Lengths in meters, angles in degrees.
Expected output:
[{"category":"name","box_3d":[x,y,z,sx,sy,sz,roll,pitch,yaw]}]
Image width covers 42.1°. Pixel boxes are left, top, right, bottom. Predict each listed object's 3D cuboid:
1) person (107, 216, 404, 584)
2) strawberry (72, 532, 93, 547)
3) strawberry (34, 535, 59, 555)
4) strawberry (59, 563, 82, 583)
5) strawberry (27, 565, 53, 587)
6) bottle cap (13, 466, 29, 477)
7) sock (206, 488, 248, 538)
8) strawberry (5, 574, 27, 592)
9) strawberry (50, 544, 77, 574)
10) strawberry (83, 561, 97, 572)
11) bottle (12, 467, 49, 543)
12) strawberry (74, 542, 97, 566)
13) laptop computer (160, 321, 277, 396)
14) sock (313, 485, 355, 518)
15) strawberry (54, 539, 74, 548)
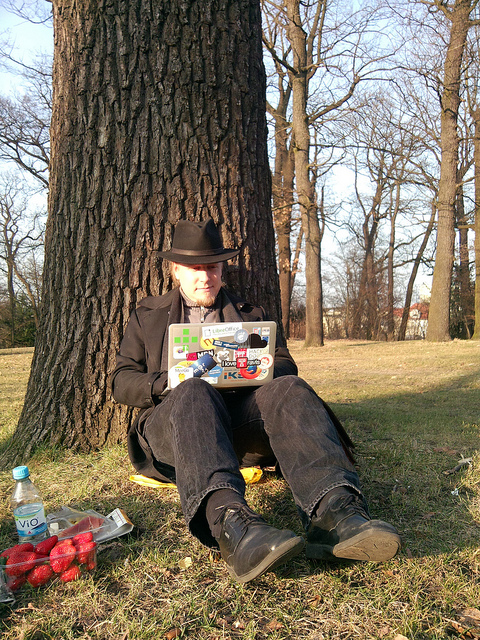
[{"category":"person","box_3d":[-0.074,0.211,3.008,1.046,1.381,1.765,-3,1,-14]},{"category":"strawberry","box_3d":[-0.650,0.904,2.572,0.056,0.031,0.043,-11,-19,12]},{"category":"strawberry","box_3d":[-0.790,0.923,2.536,0.044,0.037,0.086,29,38,15]},{"category":"strawberry","box_3d":[-0.671,1.008,2.466,0.076,0.043,0.058,-25,22,6]},{"category":"strawberry","box_3d":[-0.784,1.002,2.446,0.089,0.068,0.057,-22,-2,4]},{"category":"bottle cap","box_3d":[-0.936,0.642,2.666,0.048,0.028,0.048,6,4,-31]},{"category":"sock","box_3d":[-0.055,0.769,2.491,0.163,0.164,0.098,-3,1,-3]},{"category":"strawberry","box_3d":[-0.870,1.023,2.420,0.030,0.030,0.071,-19,11,45]},{"category":"strawberry","box_3d":[-0.705,0.955,2.475,0.104,0.079,0.064,-21,2,34]},{"category":"strawberry","box_3d":[-0.606,0.999,2.519,0.045,0.023,0.026,-27,8,-32]},{"category":"bottle","box_3d":[-0.924,0.839,2.731,0.148,0.385,0.136,-9,3,1]},{"category":"strawberry","box_3d":[-0.625,0.941,2.514,0.086,0.067,0.052,-40,23,-6]},{"category":"laptop computer","box_3d":[-0.161,0.143,3.260,0.652,0.306,0.507,-1,10,-20]},{"category":"sock","box_3d":[0.373,0.726,2.583,0.216,0.073,0.085,-43,-22,-8]},{"category":"strawberry","box_3d":[-0.722,0.907,2.543,0.055,0.034,0.035,-12,-6,19]}]
